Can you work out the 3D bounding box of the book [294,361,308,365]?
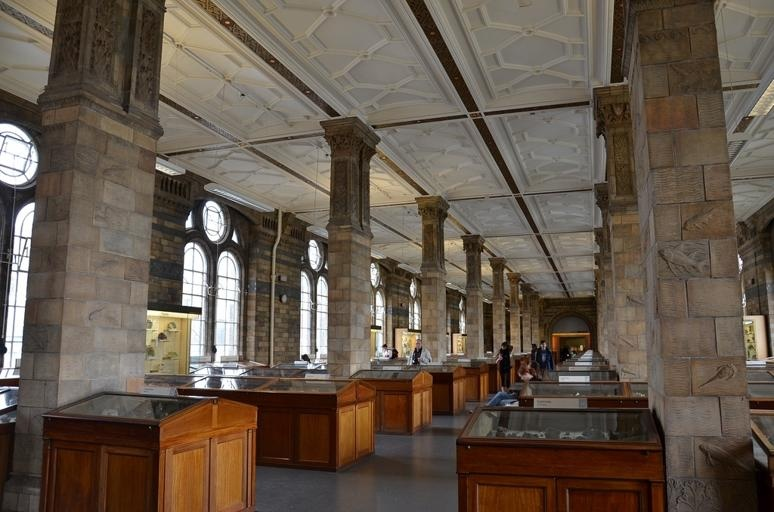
[{"bbox_3d":[-3.460,4.254,21.326,0.449,0.088,0.376,0,-5,10],"label":"book"}]
